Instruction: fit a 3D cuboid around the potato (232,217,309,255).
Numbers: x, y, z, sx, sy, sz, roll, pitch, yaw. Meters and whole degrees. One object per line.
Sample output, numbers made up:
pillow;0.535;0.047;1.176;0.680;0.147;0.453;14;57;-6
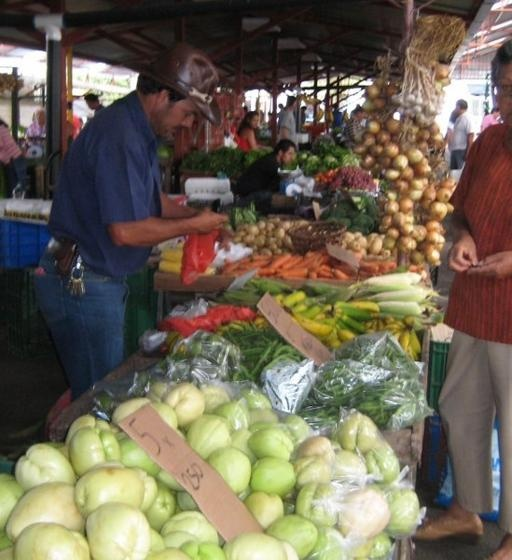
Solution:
potato;0.082;-0.294;3.394;0.281;0.139;0.362;2;25;4

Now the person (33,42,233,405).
person;-0.512;-0.258;2.049;0.543;1.652;0.591;0;1;-10

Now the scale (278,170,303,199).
scale;0.372;-0.995;5.207;0.276;0.439;0.404;-1;10;-11

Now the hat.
hat;-0.249;-0.729;1.875;0.281;0.164;0.246;32;16;-5

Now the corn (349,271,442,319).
corn;0.585;0.063;2.113;0.323;0.196;0.291;6;15;20

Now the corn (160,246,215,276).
corn;-0.383;-0.113;2.689;0.264;0.150;0.254;-4;16;-20
